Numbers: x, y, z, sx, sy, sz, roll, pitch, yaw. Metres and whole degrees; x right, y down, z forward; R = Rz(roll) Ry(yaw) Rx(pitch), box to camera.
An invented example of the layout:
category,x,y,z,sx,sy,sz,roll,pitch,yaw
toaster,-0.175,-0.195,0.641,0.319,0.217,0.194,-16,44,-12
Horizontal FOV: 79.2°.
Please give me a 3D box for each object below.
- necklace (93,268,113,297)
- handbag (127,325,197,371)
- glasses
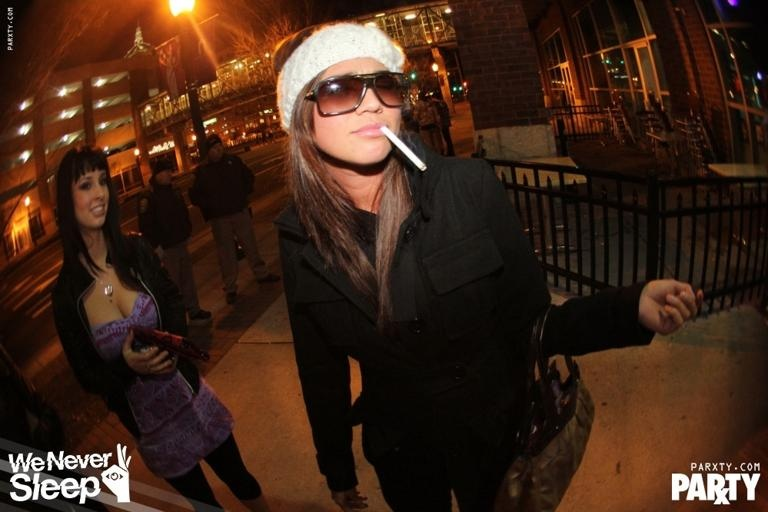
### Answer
category,x,y,z,sx,sy,sz,roll,pitch,yaw
necklace,-1.503,0.146,2.498,0.034,0.115,0.072,17,45,34
handbag,-1.271,0.514,2.628,0.337,0.203,0.131,8,14,-2
glasses,-0.129,-0.679,1.956,0.399,0.185,0.090,-11,2,-5
